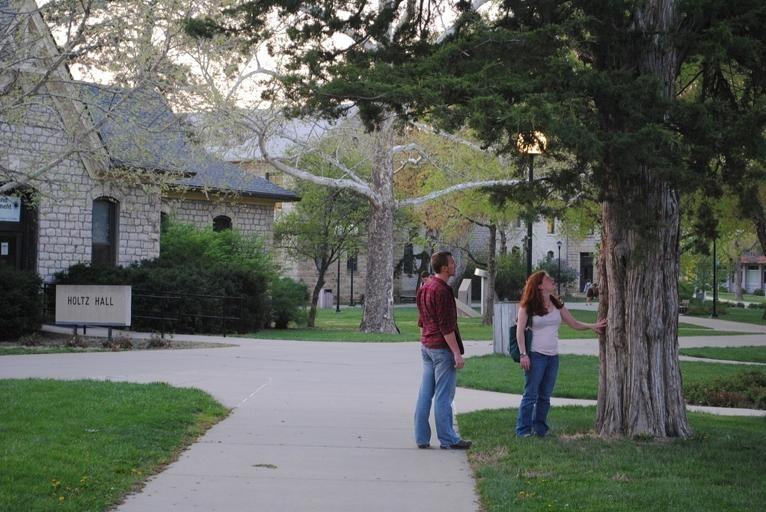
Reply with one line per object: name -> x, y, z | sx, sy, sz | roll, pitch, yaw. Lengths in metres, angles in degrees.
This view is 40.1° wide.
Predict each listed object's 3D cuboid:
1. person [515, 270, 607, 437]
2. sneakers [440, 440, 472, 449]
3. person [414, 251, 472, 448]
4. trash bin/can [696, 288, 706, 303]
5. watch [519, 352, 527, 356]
person -> 2.911, 1.690, 18.304 | 1.163, 2.832, 1.001 | 0, -3, 11
sneakers -> 1.245, 3.129, 17.619 | 0.481, 0.240, 0.186 | -4, -6, 3
person -> 0.992, 1.565, 17.610 | 0.881, 3.318, 0.537 | 0, -3, 12
trash bin/can -> 20.591, 2.510, 67.760 | 0.373, 0.775, 0.740 | 0, 1, 9
watch -> 2.437, 1.682, 17.979 | 0.108, 0.065, 0.049 | 2, -3, -9
